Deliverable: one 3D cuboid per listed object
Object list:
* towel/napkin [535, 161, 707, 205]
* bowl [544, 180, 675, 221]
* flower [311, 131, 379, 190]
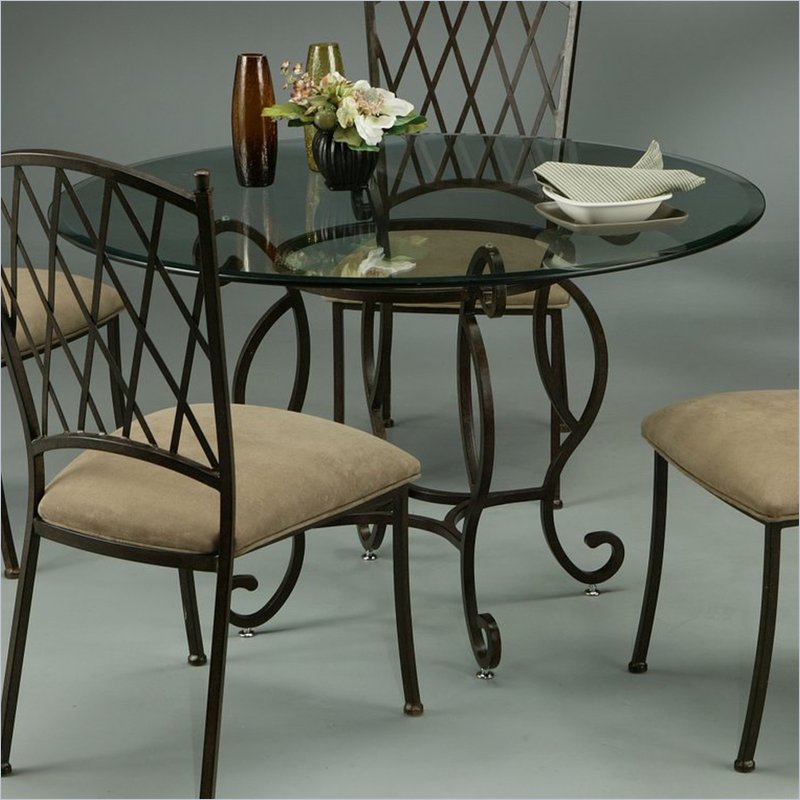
[{"bbox_3d":[0.375,-0.368,1.585,0.214,0.068,0.141,-14,14,-1],"label":"towel/napkin"},{"bbox_3d":[0.327,-0.311,1.488,0.189,0.055,0.137,1,14,7],"label":"bowl"},{"bbox_3d":[-0.103,-0.454,1.751,0.098,0.084,0.103,9,17,22],"label":"flower"}]
